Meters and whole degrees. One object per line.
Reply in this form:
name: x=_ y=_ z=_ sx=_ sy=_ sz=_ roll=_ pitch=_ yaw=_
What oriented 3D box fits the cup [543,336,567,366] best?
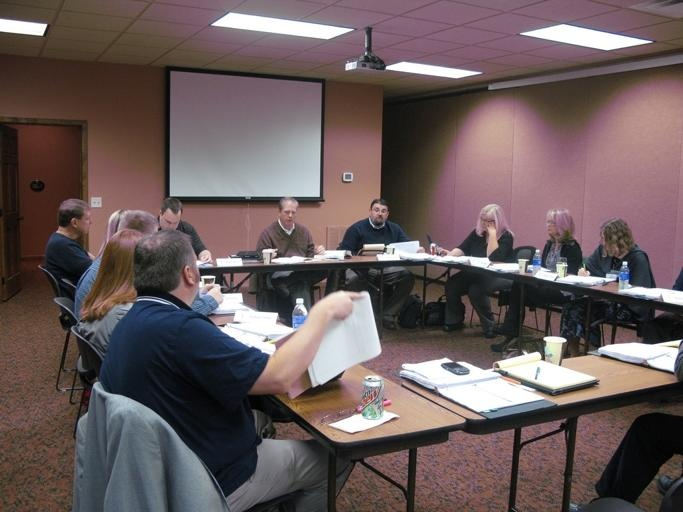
cup: x=1.074 y=0.469 z=2.597 sx=0.113 sy=0.132 sz=0.123 roll=0 pitch=-1 yaw=0

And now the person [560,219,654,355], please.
person: x=2.404 y=0.369 z=4.763 sx=0.724 sy=1.353 sz=0.699 roll=3 pitch=2 yaw=-2

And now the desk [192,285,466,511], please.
desk: x=0.109 y=0.449 z=2.068 sx=0.450 sy=0.458 sz=0.866 roll=-6 pitch=12 yaw=-25

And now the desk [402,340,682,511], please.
desk: x=1.012 y=0.893 z=2.629 sx=0.752 sy=0.537 sz=0.424 roll=-5 pitch=10 yaw=-30

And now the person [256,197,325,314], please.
person: x=-0.531 y=0.148 z=5.951 sx=0.799 sy=1.555 sz=0.890 roll=-4 pitch=9 yaw=-18

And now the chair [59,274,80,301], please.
chair: x=-2.160 y=0.254 z=4.143 sx=0.149 sy=0.208 sz=0.176 roll=-4 pitch=9 yaw=-30

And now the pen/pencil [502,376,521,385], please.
pen/pencil: x=0.768 y=0.560 z=2.365 sx=0.021 sy=0.026 sz=0.091 roll=29 pitch=2 yaw=-19

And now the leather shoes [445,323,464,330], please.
leather shoes: x=1.262 y=0.802 z=5.913 sx=0.223 sy=0.105 sz=0.078 roll=-2 pitch=4 yaw=-30

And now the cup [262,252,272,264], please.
cup: x=-0.737 y=0.028 z=5.246 sx=0.106 sy=0.123 sz=0.097 roll=1 pitch=0 yaw=0

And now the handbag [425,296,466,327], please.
handbag: x=1.167 y=0.650 z=6.069 sx=0.405 sy=0.438 sz=0.289 roll=0 pitch=0 yaw=-4

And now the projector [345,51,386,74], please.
projector: x=0.230 y=-1.951 z=5.351 sx=0.343 sy=0.237 sz=0.553 roll=-2 pitch=8 yaw=0

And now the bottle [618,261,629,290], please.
bottle: x=2.275 y=0.152 z=4.216 sx=0.063 sy=0.204 sz=0.229 roll=2 pitch=9 yaw=28

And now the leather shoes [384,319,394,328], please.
leather shoes: x=0.543 y=0.794 z=6.021 sx=0.048 sy=0.068 sz=0.165 roll=3 pitch=-9 yaw=-15

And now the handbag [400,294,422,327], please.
handbag: x=0.783 y=0.637 z=6.000 sx=0.165 sy=0.327 sz=0.256 roll=22 pitch=-16 yaw=-13

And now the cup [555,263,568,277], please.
cup: x=1.970 y=0.132 z=4.698 sx=0.076 sy=0.136 sz=0.082 roll=-1 pitch=10 yaw=0

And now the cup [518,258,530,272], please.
cup: x=1.687 y=0.094 z=4.859 sx=0.102 sy=0.121 sz=0.108 roll=2 pitch=6 yaw=0

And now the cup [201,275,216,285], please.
cup: x=-1.037 y=0.202 z=4.086 sx=0.072 sy=0.063 sz=0.080 roll=1 pitch=-3 yaw=6
